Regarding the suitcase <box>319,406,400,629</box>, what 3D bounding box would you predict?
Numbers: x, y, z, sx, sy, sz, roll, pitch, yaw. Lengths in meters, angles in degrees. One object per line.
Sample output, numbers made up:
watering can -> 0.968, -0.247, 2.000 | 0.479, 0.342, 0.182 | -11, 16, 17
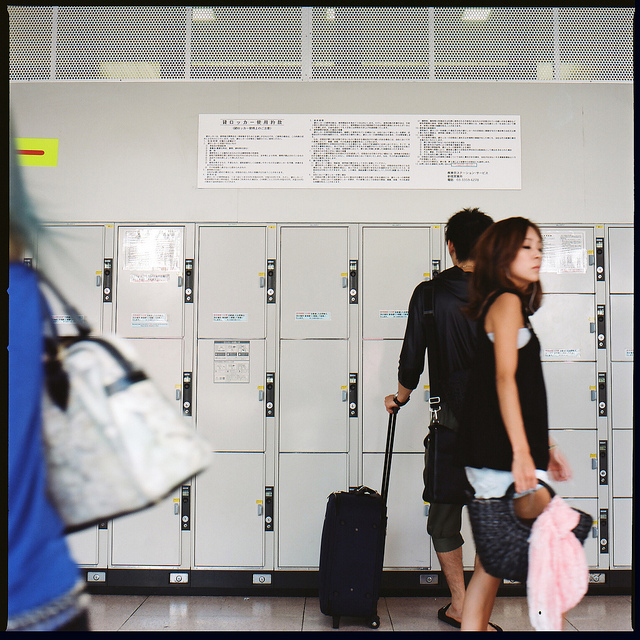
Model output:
suitcase -> 0.219, 1.061, 4.467 | 0.330, 1.421, 0.344 | 3, 8, -4

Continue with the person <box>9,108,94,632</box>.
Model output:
person -> -1.705, 0.229, 4.801 | 0.464, 3.188, 0.838 | 0, 0, -24

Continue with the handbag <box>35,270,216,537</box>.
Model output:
handbag -> -1.299, 0.573, 4.957 | 0.951, 1.596, 0.432 | -1, 0, -20

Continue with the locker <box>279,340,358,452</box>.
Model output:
locker -> -0.016, 0.506, 5.233 | 0.543, 1.027, 0.587 | 0, -3, -2

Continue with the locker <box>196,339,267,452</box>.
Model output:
locker -> -0.561, 0.518, 4.951 | 0.500, 1.129, 0.374 | 0, -4, 1

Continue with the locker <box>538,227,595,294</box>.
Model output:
locker -> 1.608, -0.371, 4.964 | 0.307, 0.403, 0.198 | -1, -8, 3

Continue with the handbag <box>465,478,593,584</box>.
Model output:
handbag -> 1.130, 1.192, 4.254 | 0.575, 0.702, 0.236 | 2, 4, 0

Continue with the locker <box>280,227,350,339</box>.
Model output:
locker -> 0.001, -0.247, 5.187 | 0.519, 1.070, 0.561 | 0, 1, 4
